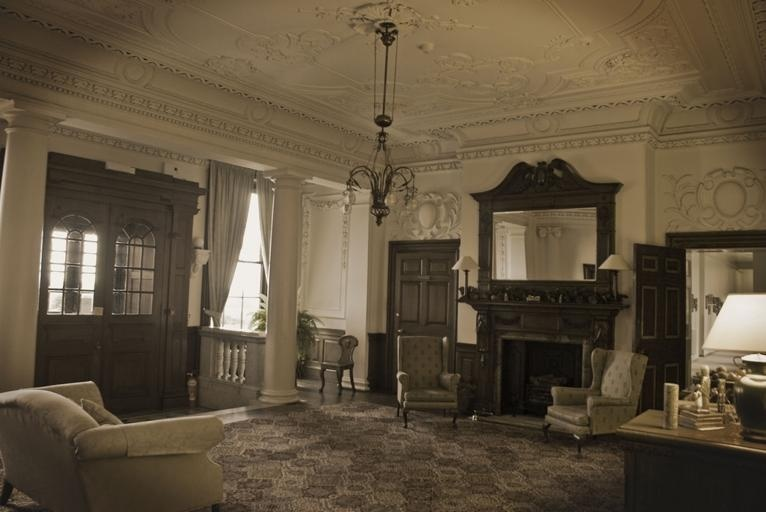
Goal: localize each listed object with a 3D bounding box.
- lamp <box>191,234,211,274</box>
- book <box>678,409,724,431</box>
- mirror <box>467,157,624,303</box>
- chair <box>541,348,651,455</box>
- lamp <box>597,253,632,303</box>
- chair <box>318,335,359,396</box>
[{"bbox_3d":[-3.536,-0.010,10.686,0.275,0.712,0.418,2,2,5],"label":"lamp"},{"bbox_3d":[2.877,1.492,5.035,0.206,0.094,0.263,2,-5,-29],"label":"book"},{"bbox_3d":[2.758,-0.395,9.068,2.305,2.125,0.280,-2,-6,32],"label":"mirror"},{"bbox_3d":[3.003,1.984,7.884,1.297,1.308,1.360,0,-6,30],"label":"chair"},{"bbox_3d":[3.547,0.308,8.469,0.467,0.667,0.553,2,2,22],"label":"lamp"},{"bbox_3d":[-0.878,2.117,10.832,0.608,1.057,0.628,-1,-2,32],"label":"chair"}]
